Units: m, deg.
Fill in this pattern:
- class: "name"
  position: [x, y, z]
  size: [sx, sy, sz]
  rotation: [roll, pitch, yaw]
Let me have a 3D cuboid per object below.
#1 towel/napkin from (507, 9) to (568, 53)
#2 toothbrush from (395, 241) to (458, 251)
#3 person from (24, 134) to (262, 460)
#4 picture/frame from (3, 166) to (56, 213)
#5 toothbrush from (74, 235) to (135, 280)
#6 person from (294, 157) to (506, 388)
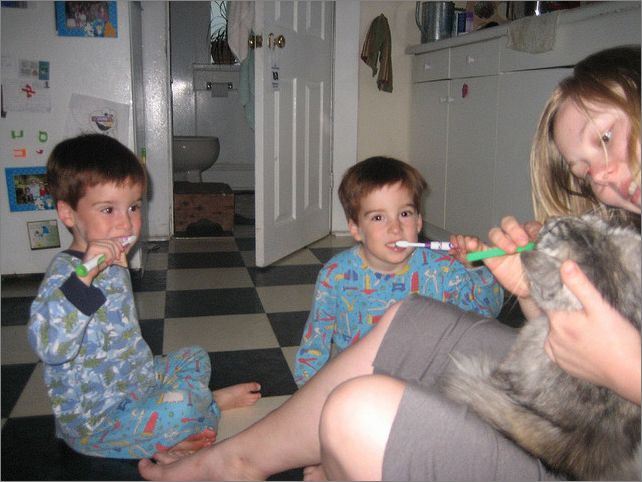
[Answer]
- class: "towel/napkin"
  position: [0.971, -0.930, 2.354]
  size: [0.180, 0.188, 0.065]
  rotation: [17, 26, 42]
- class: "toothbrush"
  position: [0.274, 0.015, 1.372]
  size: [0.159, 0.023, 0.019]
  rotation: [1, -30, 30]
- class: "person"
  position: [-0.501, 0.173, 1.525]
  size: [0.511, 0.848, 0.737]
  rotation: [3, 6, 30]
- class: "picture/frame"
  position: [-1.316, -0.232, 2.337]
  size: [0.216, 0.220, 0.013]
  rotation: [-9, 15, -24]
- class: "toothbrush"
  position: [-0.542, 0.033, 1.351]
  size: [0.035, 0.045, 0.252]
  rotation: [5, 21, 23]
- class: "person"
  position: [0.162, 0.039, 1.623]
  size: [0.666, 0.740, 0.629]
  rotation: [-5, 15, -12]
